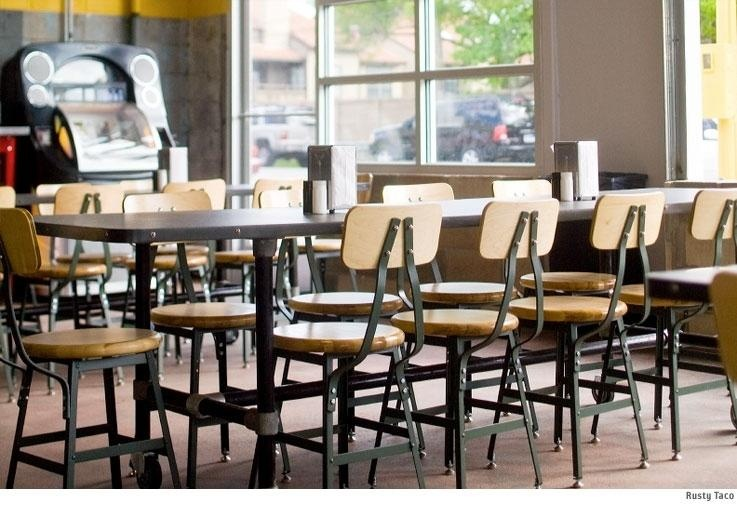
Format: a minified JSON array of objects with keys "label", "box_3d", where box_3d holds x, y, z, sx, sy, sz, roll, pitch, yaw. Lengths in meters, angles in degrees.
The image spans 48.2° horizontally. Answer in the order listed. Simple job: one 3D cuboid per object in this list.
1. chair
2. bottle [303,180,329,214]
[{"label":"chair","box_3d":[-0.131,0.413,3.717,2.416,1.289,1.032,-7,14,-23]},{"label":"bottle","box_3d":[-0.253,-0.261,3.899,0.147,0.149,0.142,-3,6,-35]}]
